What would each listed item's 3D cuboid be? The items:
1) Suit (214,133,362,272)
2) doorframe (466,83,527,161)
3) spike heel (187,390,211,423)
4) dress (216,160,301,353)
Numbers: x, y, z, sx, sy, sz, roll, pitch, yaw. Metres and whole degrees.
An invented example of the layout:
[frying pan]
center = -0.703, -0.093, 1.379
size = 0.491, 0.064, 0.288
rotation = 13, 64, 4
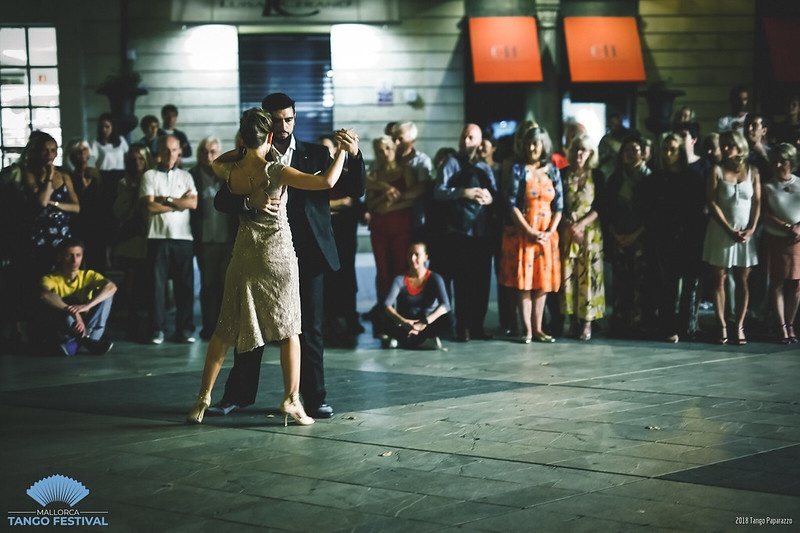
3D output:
[Suit]
center = -1.098, -0.591, 7.958
size = 1.517, 1.379, 0.491
rotation = -4, 0, -3
[doorframe]
center = 2.084, -3.037, 17.055
size = 1.151, 0.163, 1.718
rotation = 0, -37, 12
[spike heel]
center = -1.782, 1.287, 7.578
size = 0.154, 0.366, 0.114
rotation = 29, -34, -33
[dress]
center = -1.272, -0.154, 7.492
size = 0.669, 1.720, 0.530
rotation = 5, 10, 7
